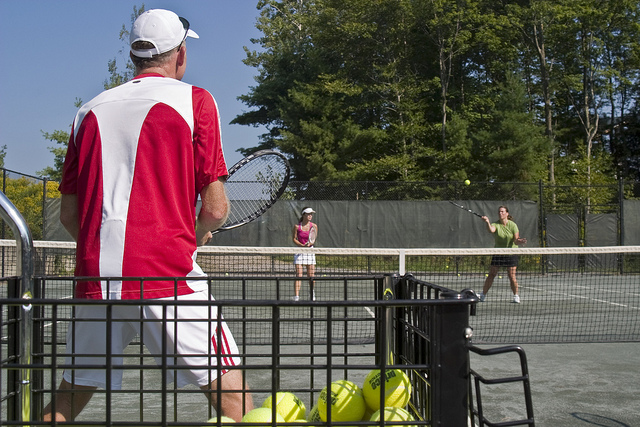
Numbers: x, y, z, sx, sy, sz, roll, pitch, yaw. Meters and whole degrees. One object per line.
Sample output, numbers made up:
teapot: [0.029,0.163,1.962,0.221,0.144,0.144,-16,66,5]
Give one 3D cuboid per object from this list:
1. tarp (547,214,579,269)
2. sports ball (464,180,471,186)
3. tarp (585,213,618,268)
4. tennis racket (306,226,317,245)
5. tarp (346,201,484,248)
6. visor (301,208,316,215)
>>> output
tarp: [9.634,1.080,36.580,1.321,2.315,0.094,2,-7,1]
sports ball: [5.842,-1.191,36.402,0.228,0.157,0.268,11,-4,-20]
tarp: [10.996,1.047,35.940,1.208,2.155,2.146,-3,-5,19]
tennis racket: [-0.242,0.727,29.860,0.206,0.588,0.690,-3,-5,16]
tarp: [3.676,0.448,36.642,5.281,1.921,0.594,-2,-5,1]
visor: [-0.390,-0.048,29.913,0.335,0.201,0.701,-2,-5,-3]
